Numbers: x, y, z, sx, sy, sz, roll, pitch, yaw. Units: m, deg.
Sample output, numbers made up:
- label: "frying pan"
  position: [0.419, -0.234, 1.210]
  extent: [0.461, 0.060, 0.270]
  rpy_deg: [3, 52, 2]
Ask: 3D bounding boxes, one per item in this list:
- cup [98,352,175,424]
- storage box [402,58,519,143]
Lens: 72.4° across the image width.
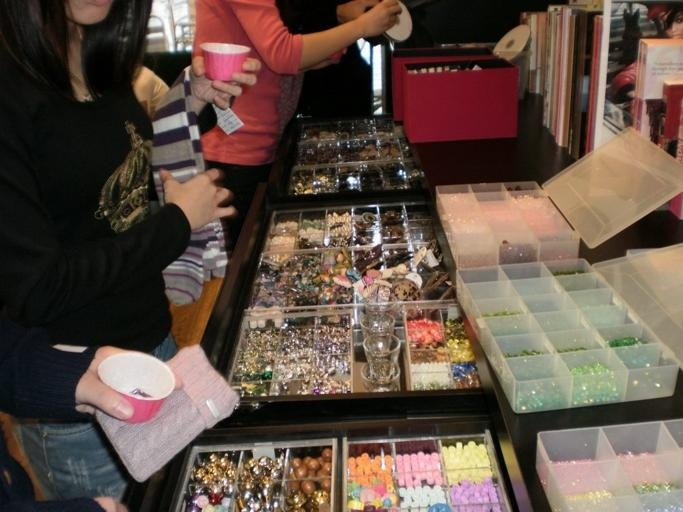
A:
- label: "cup"
  position: [-0.459, 0.272, 1.023]
  extent: [0.157, 0.082, 0.158]
  rpy_deg: [20, 33, -13]
- label: "storage box"
  position: [0.634, -0.804, 2.448]
  extent: [0.629, 0.389, 0.464]
  rpy_deg: [1, 31, 7]
